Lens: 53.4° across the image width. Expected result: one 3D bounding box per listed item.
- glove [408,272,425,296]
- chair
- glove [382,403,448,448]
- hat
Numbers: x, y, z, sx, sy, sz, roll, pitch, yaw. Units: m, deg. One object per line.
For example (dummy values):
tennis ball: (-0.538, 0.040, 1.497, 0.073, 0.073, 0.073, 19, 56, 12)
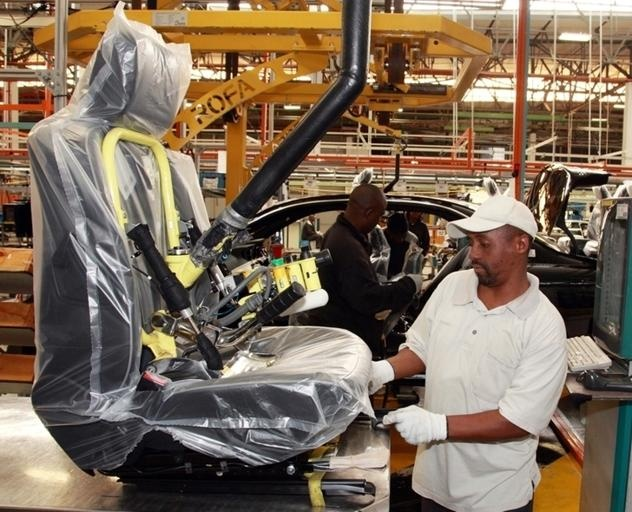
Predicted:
glove: (0.643, 0.176, 4.042, 0.103, 0.124, 0.123, 5, -27, 4)
chair: (-0.352, -0.057, 2.179, 0.973, 1.430, 0.813, -3, 3, 7)
glove: (0.338, 0.553, 2.101, 0.170, 0.058, 0.129, -5, 32, -17)
hat: (0.661, -0.107, 2.330, 0.271, 0.147, 0.175, 10, -4, 0)
